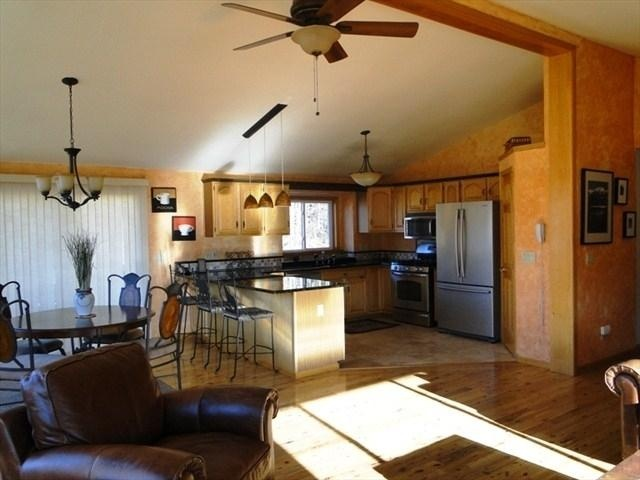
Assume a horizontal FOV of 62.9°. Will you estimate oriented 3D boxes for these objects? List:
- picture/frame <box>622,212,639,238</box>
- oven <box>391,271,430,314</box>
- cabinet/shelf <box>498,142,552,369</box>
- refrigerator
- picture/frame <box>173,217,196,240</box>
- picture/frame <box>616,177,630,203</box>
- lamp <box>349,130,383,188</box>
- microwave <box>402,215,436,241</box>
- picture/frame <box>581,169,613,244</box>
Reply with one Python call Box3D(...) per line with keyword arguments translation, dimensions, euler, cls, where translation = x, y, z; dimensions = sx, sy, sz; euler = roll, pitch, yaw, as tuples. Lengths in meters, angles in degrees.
Box3D(translation=(3.697, -0.202, 6.241), dimensions=(0.034, 0.315, 0.318), euler=(0, -1, 42), cls="picture/frame")
Box3D(translation=(1.565, 0.831, 8.307), dimensions=(0.528, 0.740, 0.782), euler=(0, 1, -36), cls="oven")
Box3D(translation=(2.448, 0.137, 6.246), dimensions=(0.319, 2.564, 1.046), euler=(-1, 9, 6), cls="cabinet/shelf")
Box3D(translation=(2.054, 0.390, 7.289), dimensions=(0.305, 1.905, 1.005), euler=(-11, 13, -43), cls="refrigerator")
Box3D(translation=(-1.992, -0.185, 7.629), dimensions=(0.342, 0.252, 0.256), euler=(1, -3, -29), cls="picture/frame")
Box3D(translation=(3.541, -0.603, 6.109), dimensions=(0.307, 0.414, 0.058), euler=(4, -5, -42), cls="picture/frame")
Box3D(translation=(0.629, -1.149, 7.116), dimensions=(0.419, 0.714, 0.437), euler=(0, 3, 36), cls="lamp")
Box3D(translation=(1.591, -0.232, 8.373), dimensions=(0.378, 0.373, 0.534), euler=(3, -3, -39), cls="microwave")
Box3D(translation=(3.066, -0.398, 5.806), dimensions=(0.867, 1.003, 0.070), euler=(0, -1, -42), cls="picture/frame")
